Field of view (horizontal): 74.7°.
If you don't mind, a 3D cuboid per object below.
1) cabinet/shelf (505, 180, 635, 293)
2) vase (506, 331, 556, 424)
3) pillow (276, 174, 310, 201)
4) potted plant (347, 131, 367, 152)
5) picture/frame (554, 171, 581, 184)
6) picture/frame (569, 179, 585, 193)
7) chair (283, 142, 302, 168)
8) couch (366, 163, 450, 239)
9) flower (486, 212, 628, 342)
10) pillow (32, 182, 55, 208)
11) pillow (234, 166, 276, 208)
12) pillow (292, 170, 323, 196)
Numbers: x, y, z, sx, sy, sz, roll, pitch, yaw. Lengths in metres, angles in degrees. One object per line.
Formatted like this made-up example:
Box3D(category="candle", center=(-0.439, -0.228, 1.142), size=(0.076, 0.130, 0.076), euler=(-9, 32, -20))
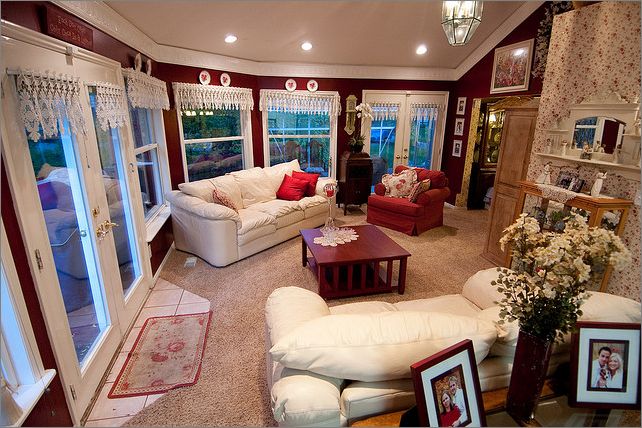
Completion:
Box3D(category="cabinet/shelf", center=(2.111, 0.165, 3.435), size=(0.354, 1.007, 0.989), euler=(6, 10, -14))
Box3D(category="vase", center=(1.341, 1.056, 2.709), size=(0.193, 0.579, 0.204), euler=(11, 19, 36))
Box3D(category="pillow", center=(-0.437, -0.398, 6.502), size=(0.394, 0.399, 0.149), euler=(18, -29, 12))
Box3D(category="potted plant", center=(0.659, -1.300, 7.656), size=(0.307, 0.304, 0.676), euler=(1, 15, 6))
Box3D(category="picture/frame", center=(2.689, -0.391, 4.599), size=(0.045, 0.133, 0.195), euler=(15, 0, -32))
Box3D(category="picture/frame", center=(2.732, -0.304, 4.465), size=(0.035, 0.138, 0.147), euler=(19, 2, -31))
Box3D(category="chair", center=(-0.527, -1.080, 7.691), size=(0.331, 0.655, 0.346), euler=(0, 32, -2))
Box3D(category="couch", center=(1.435, -0.214, 6.838), size=(1.101, 1.111, 1.161), euler=(-14, 21, -35))
Box3D(category="flower", center=(1.532, 0.437, 2.710), size=(0.730, 0.880, 0.336), euler=(3, 16, 13))
Box3D(category="pillow", center=(-2.116, -0.135, 3.229), size=(0.042, 0.161, 0.151), euler=(-9, -16, 11))
Box3D(category="pillow", center=(-0.996, -0.411, 6.330), size=(0.608, 0.590, 0.225), euler=(-21, -8, -44))
Box3D(category="pillow", center=(-0.225, -0.532, 6.640), size=(0.383, 0.390, 0.182), euler=(7, -23, 4))
